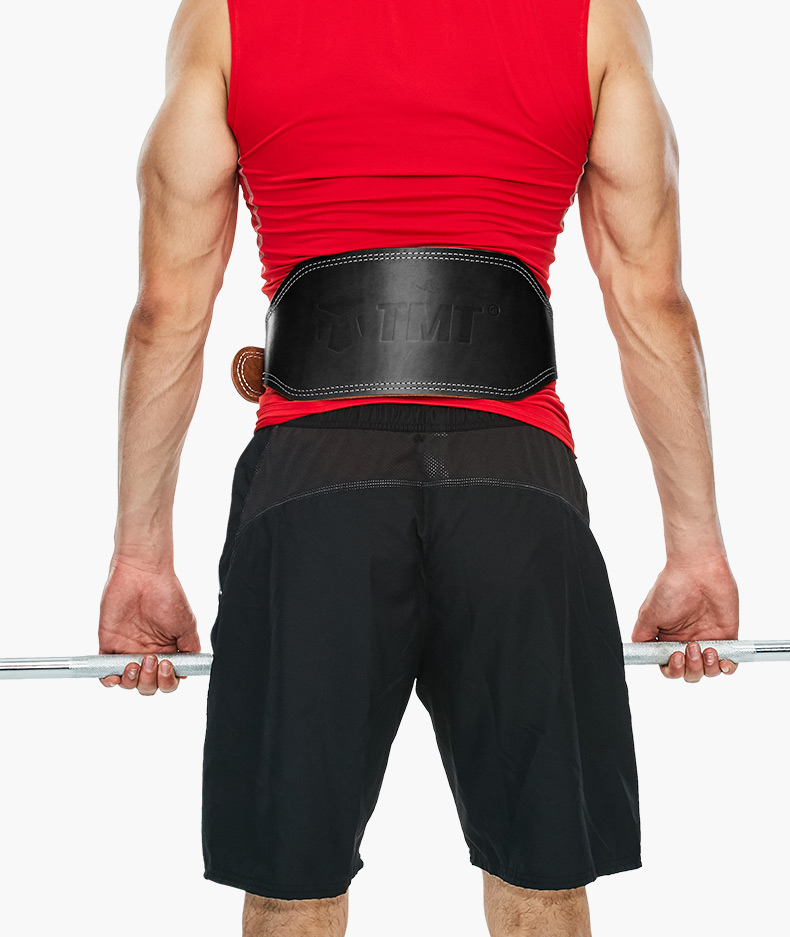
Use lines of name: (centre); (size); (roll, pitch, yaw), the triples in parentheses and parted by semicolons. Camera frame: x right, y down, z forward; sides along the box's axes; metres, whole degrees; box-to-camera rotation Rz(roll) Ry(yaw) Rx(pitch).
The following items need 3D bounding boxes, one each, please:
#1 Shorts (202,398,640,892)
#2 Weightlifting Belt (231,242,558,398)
Shorts: (0.029, 0.257, 1.626); (0.956, 0.782, 0.318); (1, 4, -1)
Weightlifting Belt: (0.004, -0.217, 1.699); (0.370, 0.132, 0.248); (-1, 0, 19)
